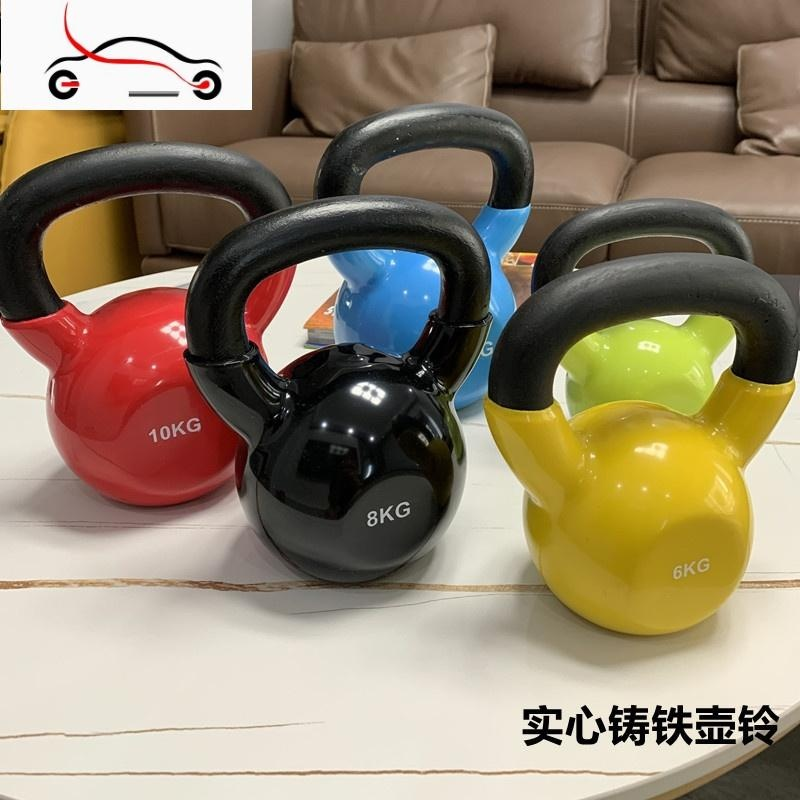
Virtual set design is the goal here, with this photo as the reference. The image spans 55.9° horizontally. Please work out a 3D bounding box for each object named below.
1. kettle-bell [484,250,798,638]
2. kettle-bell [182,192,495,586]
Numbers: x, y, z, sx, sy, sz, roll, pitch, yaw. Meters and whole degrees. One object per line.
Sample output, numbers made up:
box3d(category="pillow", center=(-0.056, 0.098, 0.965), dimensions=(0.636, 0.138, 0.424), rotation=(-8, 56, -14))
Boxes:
box3d(category="kettle-bell", center=(0.148, 0.031, 0.465), dimensions=(0.191, 0.228, 0.118), rotation=(2, 42, -1))
box3d(category="kettle-bell", center=(-0.048, -0.002, 0.550), dimensions=(0.239, 0.286, 0.170), rotation=(-12, 36, -34))
